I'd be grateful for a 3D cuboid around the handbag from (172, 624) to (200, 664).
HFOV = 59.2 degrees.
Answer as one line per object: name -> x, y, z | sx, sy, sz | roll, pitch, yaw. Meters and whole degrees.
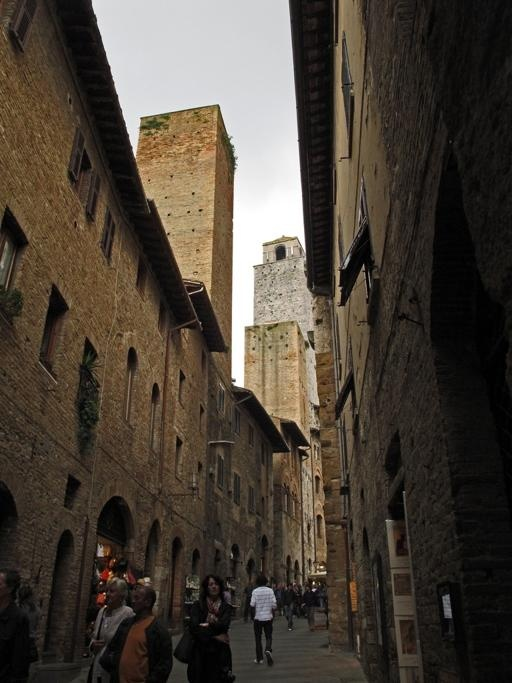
handbag -> -0.733, 3.114, 4.646 | 0.201, 0.328, 0.517 | 3, -31, -8
